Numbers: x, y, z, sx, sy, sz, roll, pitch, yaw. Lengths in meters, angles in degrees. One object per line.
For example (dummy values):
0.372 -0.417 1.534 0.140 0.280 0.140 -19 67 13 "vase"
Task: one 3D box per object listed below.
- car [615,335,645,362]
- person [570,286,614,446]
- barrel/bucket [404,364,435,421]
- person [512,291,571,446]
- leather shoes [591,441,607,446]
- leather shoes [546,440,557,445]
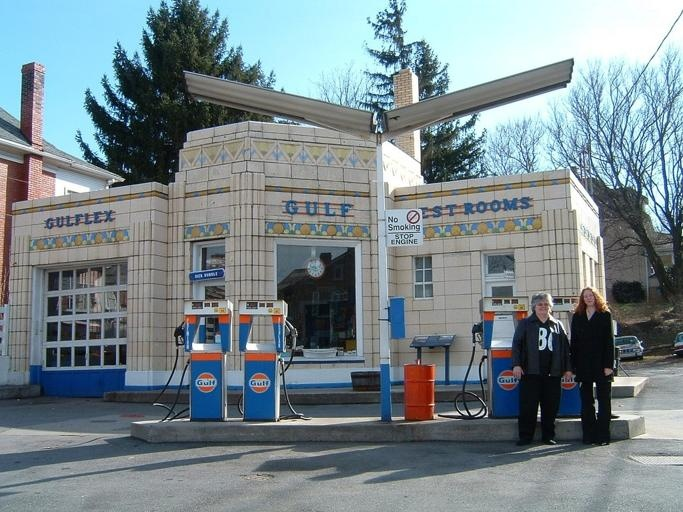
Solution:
14.055 4.524 34.102 1.132 1.127 1.734 -2 -2 27 "car"
4.065 1.739 11.328 0.674 2.480 0.473 -2 -2 20 "person"
1.395 2.425 12.487 0.520 0.975 0.311 -1 -2 -2 "barrel/bucket"
3.293 1.822 11.479 0.938 2.403 0.629 -1 -2 7 "person"
4.096 2.946 11.045 0.247 0.057 0.106 -1 -2 -2 "leather shoes"
3.392 2.995 11.278 0.194 0.088 0.084 2 -3 -34 "leather shoes"
